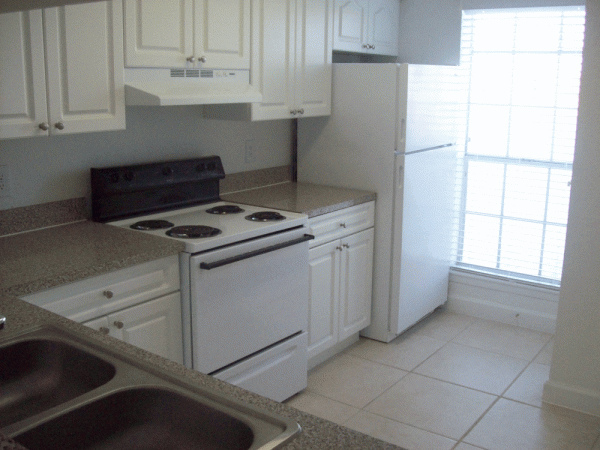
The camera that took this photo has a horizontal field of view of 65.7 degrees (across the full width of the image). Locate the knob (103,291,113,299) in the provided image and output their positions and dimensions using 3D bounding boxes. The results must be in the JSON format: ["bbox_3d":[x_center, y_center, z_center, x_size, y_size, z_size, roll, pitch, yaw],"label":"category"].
[{"bbox_3d":[-0.796,0.288,1.934,0.037,0.039,0.021,-13,20,-43],"label":"knob"}]

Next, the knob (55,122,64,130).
[{"bbox_3d":[-1.030,-0.426,1.994,0.034,0.030,0.012,-10,18,-36],"label":"knob"}]

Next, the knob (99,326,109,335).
[{"bbox_3d":[-0.816,0.437,1.940,0.037,0.010,0.038,16,14,13],"label":"knob"}]

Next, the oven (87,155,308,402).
[{"bbox_3d":[-0.550,0.352,2.702,1.036,1.365,0.941,-9,17,-38],"label":"oven"}]

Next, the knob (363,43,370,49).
[{"bbox_3d":[0.514,-1.383,3.590,0.028,0.032,0.049,41,31,13],"label":"knob"}]

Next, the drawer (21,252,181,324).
[{"bbox_3d":[-0.792,0.268,1.945,0.296,0.079,0.331,9,17,27],"label":"drawer"}]

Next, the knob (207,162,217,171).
[{"bbox_3d":[-0.556,-0.372,2.947,0.012,0.049,0.051,1,-4,39],"label":"knob"}]

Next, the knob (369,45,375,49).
[{"bbox_3d":[0.574,-1.409,3.681,0.043,0.012,0.034,-1,10,4],"label":"knob"}]

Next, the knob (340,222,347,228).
[{"bbox_3d":[0.294,-0.001,3.101,0.034,0.021,0.033,3,-1,-33],"label":"knob"}]

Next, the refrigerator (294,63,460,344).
[{"bbox_3d":[0.618,-0.180,3.550,1.281,2.015,0.707,1,14,1],"label":"refrigerator"}]

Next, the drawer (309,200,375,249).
[{"bbox_3d":[0.297,-0.025,3.105,0.293,0.151,0.443,13,23,40],"label":"drawer"}]

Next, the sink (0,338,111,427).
[{"bbox_3d":[-0.642,0.390,1.270,0.205,0.096,0.263,22,30,23],"label":"sink"}]

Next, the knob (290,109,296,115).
[{"bbox_3d":[-0.044,-0.753,3.080,0.048,0.035,0.027,-2,29,-9],"label":"knob"}]

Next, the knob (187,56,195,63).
[{"bbox_3d":[-0.562,-0.861,2.419,0.033,0.031,0.033,20,13,42],"label":"knob"}]
